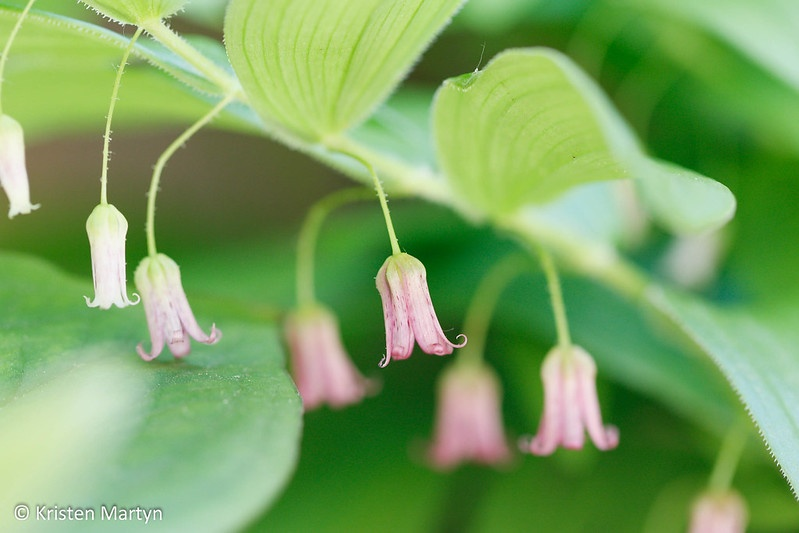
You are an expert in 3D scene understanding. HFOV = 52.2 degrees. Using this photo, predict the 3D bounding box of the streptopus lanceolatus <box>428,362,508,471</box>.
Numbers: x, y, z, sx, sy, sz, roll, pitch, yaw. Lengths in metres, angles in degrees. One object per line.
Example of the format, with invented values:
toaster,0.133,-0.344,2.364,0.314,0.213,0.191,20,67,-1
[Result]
streptopus lanceolatus,0.105,0.221,1.221,0.127,0.136,0.119,0,2,5

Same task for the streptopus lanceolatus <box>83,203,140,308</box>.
streptopus lanceolatus,-0.379,-0.016,1.064,0.079,0.138,0.080,-5,6,-8

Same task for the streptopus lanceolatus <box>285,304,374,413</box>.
streptopus lanceolatus,-0.116,0.143,1.273,0.105,0.098,0.151,-22,51,-25

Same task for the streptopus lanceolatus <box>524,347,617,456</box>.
streptopus lanceolatus,0.230,0.181,1.054,0.116,0.117,0.104,10,45,5

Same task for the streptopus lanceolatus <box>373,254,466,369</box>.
streptopus lanceolatus,0.021,0.060,1.039,0.093,0.118,0.104,-2,45,-7

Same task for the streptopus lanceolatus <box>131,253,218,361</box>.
streptopus lanceolatus,-0.311,0.054,1.078,0.061,0.113,0.153,-18,88,-36
